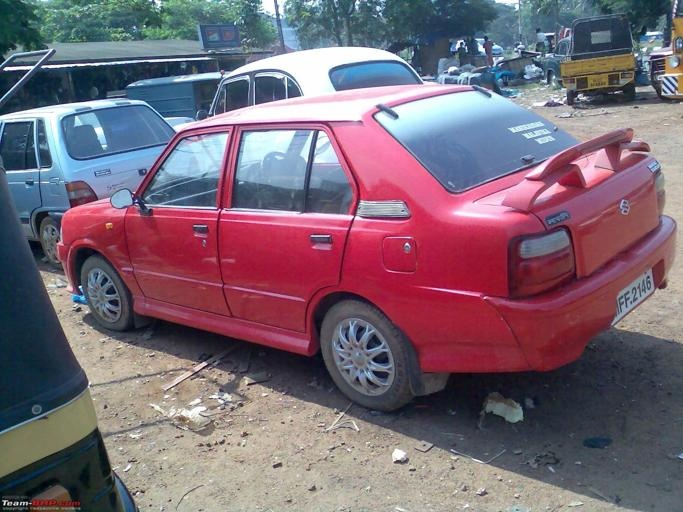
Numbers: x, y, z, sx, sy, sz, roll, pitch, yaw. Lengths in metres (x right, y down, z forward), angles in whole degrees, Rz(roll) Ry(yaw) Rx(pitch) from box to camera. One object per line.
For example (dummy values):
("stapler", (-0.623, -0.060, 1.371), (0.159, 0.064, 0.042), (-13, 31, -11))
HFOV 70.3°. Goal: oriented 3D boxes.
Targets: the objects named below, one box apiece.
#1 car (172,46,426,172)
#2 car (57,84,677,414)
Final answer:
("car", (-0.640, -2.602, 8.760), (2.483, 1.992, 4.656), (-25, 27, -35))
("car", (-0.169, -0.276, 4.069), (4.542, 1.426, 2.367), (12, 25, 31))
